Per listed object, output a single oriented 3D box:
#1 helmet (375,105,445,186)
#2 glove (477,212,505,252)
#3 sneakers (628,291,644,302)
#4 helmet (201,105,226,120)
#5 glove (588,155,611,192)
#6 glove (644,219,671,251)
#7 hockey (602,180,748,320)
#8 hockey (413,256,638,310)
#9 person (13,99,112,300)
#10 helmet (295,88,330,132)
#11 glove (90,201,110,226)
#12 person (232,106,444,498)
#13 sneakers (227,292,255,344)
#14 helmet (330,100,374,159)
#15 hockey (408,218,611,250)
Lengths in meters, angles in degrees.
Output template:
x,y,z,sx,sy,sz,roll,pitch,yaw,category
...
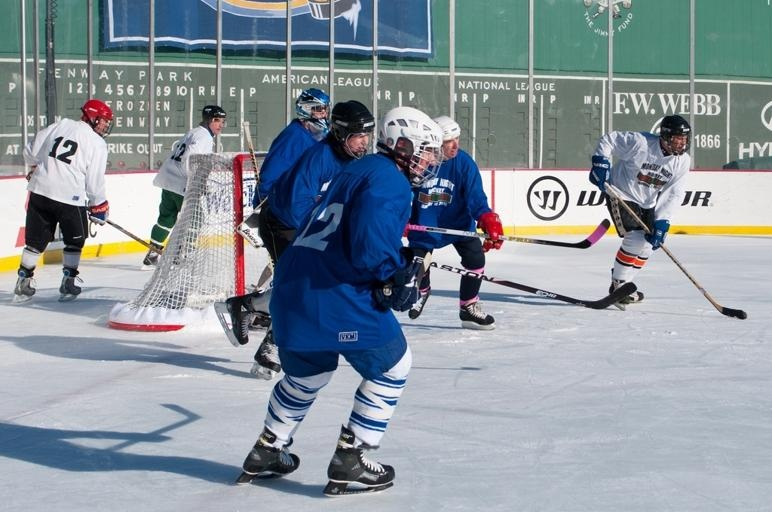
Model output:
x,y,z,sx,sy,sz,roll,pitch,yaw,category
0.128,-0.620,5.831,0.467,0.358,0.324,16,0,-10,helmet
0.872,-0.192,8.023,0.152,0.247,0.300,-25,39,26,glove
2.398,0.394,9.227,0.099,0.101,0.269,-7,-14,13,sneakers
-1.882,-1.482,10.648,0.233,0.153,0.189,-11,21,-22,helmet
2.051,-0.736,9.203,0.248,0.295,0.129,3,25,38,glove
2.558,-0.182,9.106,0.110,0.260,0.222,39,21,28,glove
3.125,-0.030,10.453,2.353,0.340,0.274,37,4,11,hockey
1.357,0.288,9.213,1.590,0.192,0.156,12,-19,12,hockey
-3.045,-0.476,9.142,0.956,1.792,0.509,-3,17,-22,person
-0.537,-1.070,7.469,0.355,0.305,0.270,-1,17,3,helmet
-2.743,-0.373,9.300,0.252,0.184,0.190,11,10,-8,glove
-0.249,0.306,5.858,1.075,2.166,0.856,3,4,7,person
-1.030,0.431,6.792,0.168,0.343,0.130,-2,4,17,sneakers
-0.225,-0.820,6.514,0.275,0.297,0.346,-9,27,-37,helmet
1.328,-0.193,10.282,2.240,0.250,0.157,7,4,-11,hockey
